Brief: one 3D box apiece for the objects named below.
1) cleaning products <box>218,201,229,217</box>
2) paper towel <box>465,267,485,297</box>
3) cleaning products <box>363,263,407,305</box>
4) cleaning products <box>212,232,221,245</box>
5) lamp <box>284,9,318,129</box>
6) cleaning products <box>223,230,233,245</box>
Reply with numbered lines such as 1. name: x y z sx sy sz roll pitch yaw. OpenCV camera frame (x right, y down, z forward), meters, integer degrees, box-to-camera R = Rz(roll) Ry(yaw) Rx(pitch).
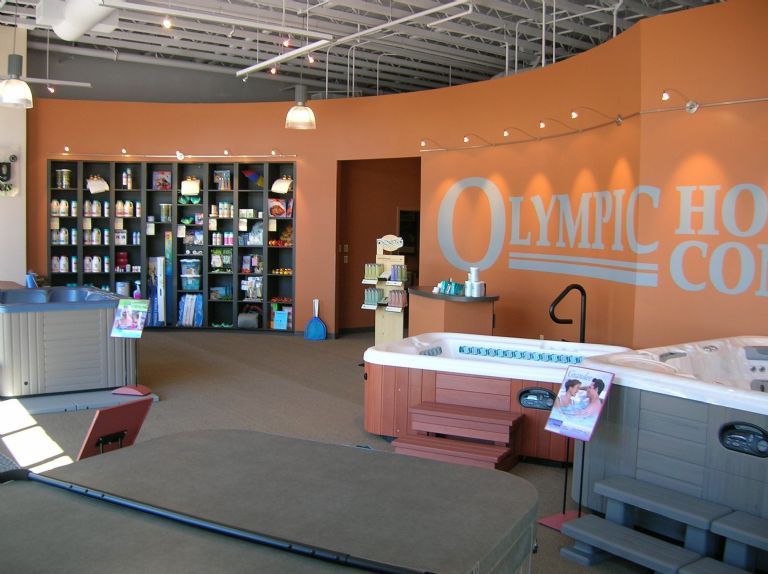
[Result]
1. cleaning products: -2.971 -1.440 11.098 0.217 0.280 0.159 0 5 -13
2. paper towel: 1.182 -0.092 7.926 0.251 0.342 0.843 2 6 8
3. cleaning products: 0.016 -0.041 9.118 0.703 0.626 0.230 1 1 42
4. cleaning products: -3.104 -0.901 11.139 0.167 0.250 0.108 -1 6 -22
5. lamp: -1.021 -2.515 7.169 0.400 1.388 0.381 0 2 -38
6. cleaning products: -2.891 -0.907 11.128 0.262 0.267 0.102 5 6 31
